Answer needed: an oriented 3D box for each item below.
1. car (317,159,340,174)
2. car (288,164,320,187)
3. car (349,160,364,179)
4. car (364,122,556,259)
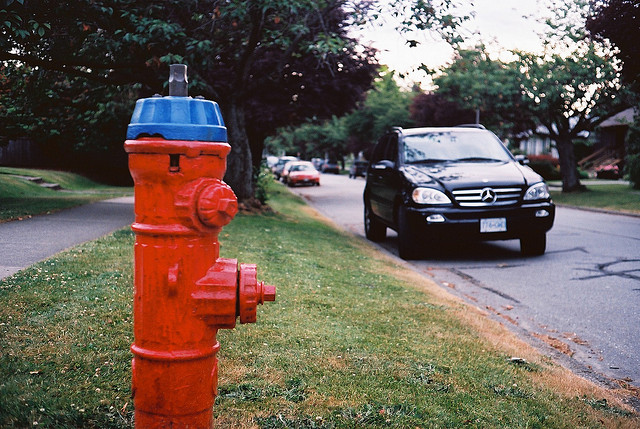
[{"bbox_3d":[1.176,-5.348,66.428,1.432,1.493,3.205,2,10,-13],"label":"car"},{"bbox_3d":[-1.189,-2.489,38.516,1.927,1.276,2.046,2,10,-14],"label":"car"},{"bbox_3d":[3.248,-3.896,51.414,1.055,1.635,3.197,4,10,-1],"label":"car"},{"bbox_3d":[2.468,-0.430,11.386,2.545,2.535,3.589,-2,12,-33],"label":"car"}]
